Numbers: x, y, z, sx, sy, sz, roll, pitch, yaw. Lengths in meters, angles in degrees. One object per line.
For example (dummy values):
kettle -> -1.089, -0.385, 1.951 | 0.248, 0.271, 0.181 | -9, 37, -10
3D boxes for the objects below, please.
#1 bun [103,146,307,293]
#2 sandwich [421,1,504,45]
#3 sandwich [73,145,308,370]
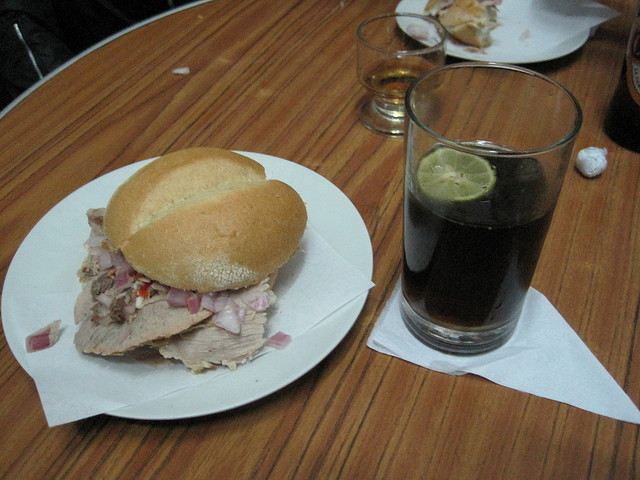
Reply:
bun -> -0.206, -0.032, 1.020 | 0.295, 0.074, 0.286 | -8, 57, -14
sandwich -> 0.404, -0.639, 1.579 | 0.222, 0.055, 0.208 | 6, 52, 17
sandwich -> -0.268, 0.011, 1.035 | 0.455, 0.157, 0.421 | 6, 60, 5
